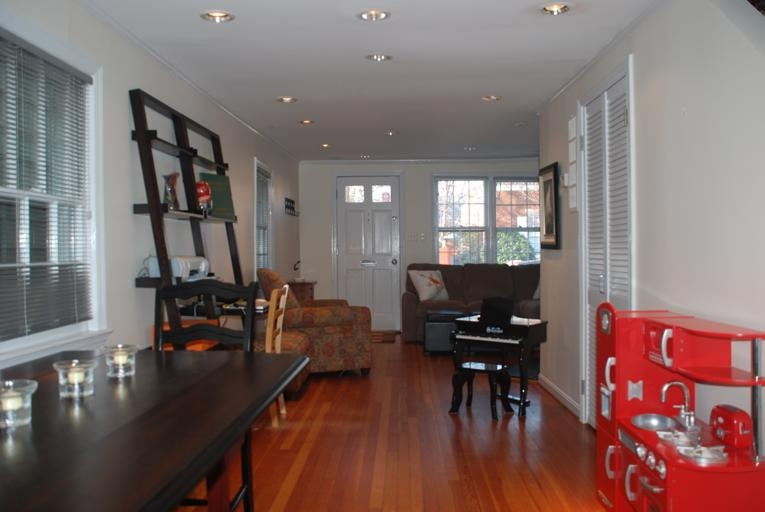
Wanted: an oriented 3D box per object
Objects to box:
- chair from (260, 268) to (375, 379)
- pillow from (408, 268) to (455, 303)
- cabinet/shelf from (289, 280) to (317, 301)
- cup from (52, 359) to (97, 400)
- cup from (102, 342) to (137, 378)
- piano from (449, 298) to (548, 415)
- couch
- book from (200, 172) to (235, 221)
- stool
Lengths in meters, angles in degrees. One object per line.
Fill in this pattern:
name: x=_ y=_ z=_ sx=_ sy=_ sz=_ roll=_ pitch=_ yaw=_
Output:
chair: x=-0.798 y=0.710 z=5.758 sx=1.186 sy=1.095 sz=1.209 roll=-2 pitch=0 yaw=-4
pillow: x=0.653 y=0.418 z=7.334 sx=0.595 sy=0.402 sz=0.466 roll=0 pitch=4 yaw=2
cabinet/shelf: x=-1.158 y=0.471 z=7.270 sx=0.350 sy=0.352 sz=0.335 roll=0 pitch=-4 yaw=-10
cup: x=-1.295 y=0.515 z=2.077 sx=0.150 sy=0.128 sz=0.162 roll=-9 pitch=-16 yaw=-3
cup: x=-1.200 y=0.483 z=2.310 sx=0.145 sy=0.119 sz=0.151 roll=-1 pitch=-7 yaw=0
piano: x=0.964 y=0.854 z=4.494 sx=0.879 sy=0.927 sz=0.795 roll=-1 pitch=1 yaw=-30
couch: x=1.540 y=0.692 z=7.268 sx=2.455 sy=1.232 sz=1.041 roll=-1 pitch=-3 yaw=2
book: x=-1.555 y=-0.567 z=4.806 sx=0.096 sy=0.410 sz=0.437 roll=-5 pitch=-4 yaw=15
stool: x=0.853 y=1.164 z=4.391 sx=0.447 sy=0.382 sz=0.331 roll=4 pitch=1 yaw=36
